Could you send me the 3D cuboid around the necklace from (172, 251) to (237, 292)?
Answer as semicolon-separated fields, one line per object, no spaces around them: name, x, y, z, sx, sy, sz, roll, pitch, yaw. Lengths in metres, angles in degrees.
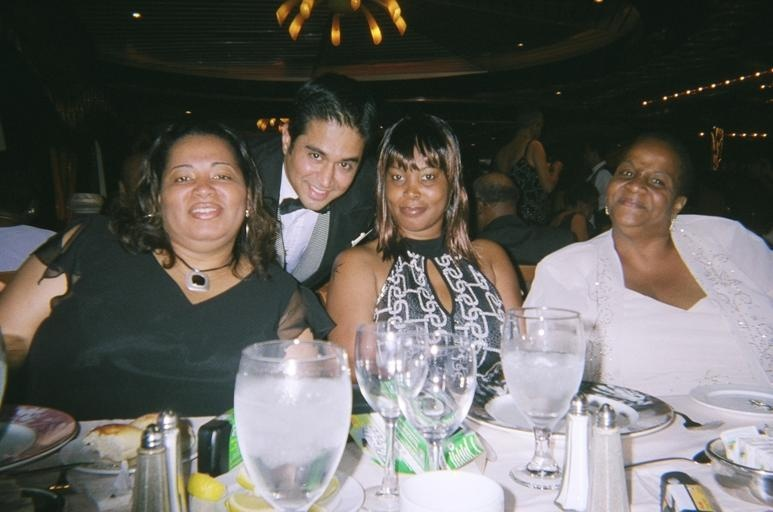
necklace;-0.839;0.074;2.740;0.212;0.068;0.247;4;35;-17

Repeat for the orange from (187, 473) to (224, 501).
orange;-0.544;0.702;1.825;0.112;0.060;0.059;12;-9;13

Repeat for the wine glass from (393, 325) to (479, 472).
wine glass;0.160;0.449;1.862;0.237;0.399;0.104;-2;4;5
